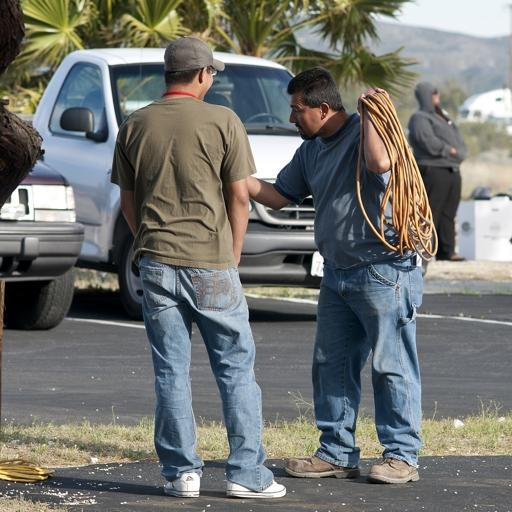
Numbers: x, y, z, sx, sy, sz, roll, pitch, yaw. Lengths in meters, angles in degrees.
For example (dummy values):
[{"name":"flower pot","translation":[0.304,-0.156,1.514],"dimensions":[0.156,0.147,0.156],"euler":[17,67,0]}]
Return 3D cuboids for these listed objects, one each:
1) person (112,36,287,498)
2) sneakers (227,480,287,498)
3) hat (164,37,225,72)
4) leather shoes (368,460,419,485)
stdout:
[{"name":"person","translation":[-0.267,0.064,6.460],"dimensions":[0.761,2.116,0.331],"euler":[0,5,-7]},{"name":"sneakers","translation":[0.005,1.087,6.525],"dimensions":[0.259,0.134,0.105],"euler":[0,0,-17]},{"name":"hat","translation":[-0.286,-0.920,6.368],"dimensions":[0.193,0.130,0.148],"euler":[-17,28,-31]},{"name":"leather shoes","translation":[0.663,1.048,6.738],"dimensions":[0.221,0.124,0.107],"euler":[8,-10,-17]}]
